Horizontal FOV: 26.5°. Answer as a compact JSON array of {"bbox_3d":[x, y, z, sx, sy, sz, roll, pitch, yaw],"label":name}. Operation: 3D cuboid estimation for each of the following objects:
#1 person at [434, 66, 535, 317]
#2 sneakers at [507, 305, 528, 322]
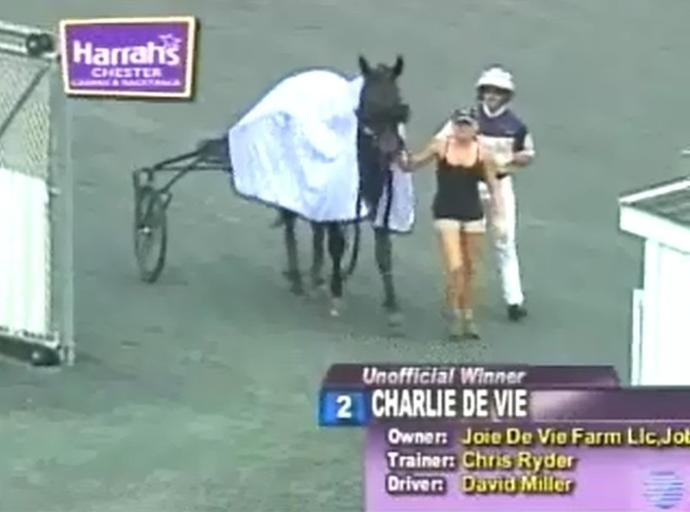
[{"bbox_3d":[1.270,-0.489,11.710,0.454,1.996,0.321,1,12,4],"label":"person"},{"bbox_3d":[1.369,0.472,11.749,0.118,0.142,0.040,-1,8,9],"label":"sneakers"}]
